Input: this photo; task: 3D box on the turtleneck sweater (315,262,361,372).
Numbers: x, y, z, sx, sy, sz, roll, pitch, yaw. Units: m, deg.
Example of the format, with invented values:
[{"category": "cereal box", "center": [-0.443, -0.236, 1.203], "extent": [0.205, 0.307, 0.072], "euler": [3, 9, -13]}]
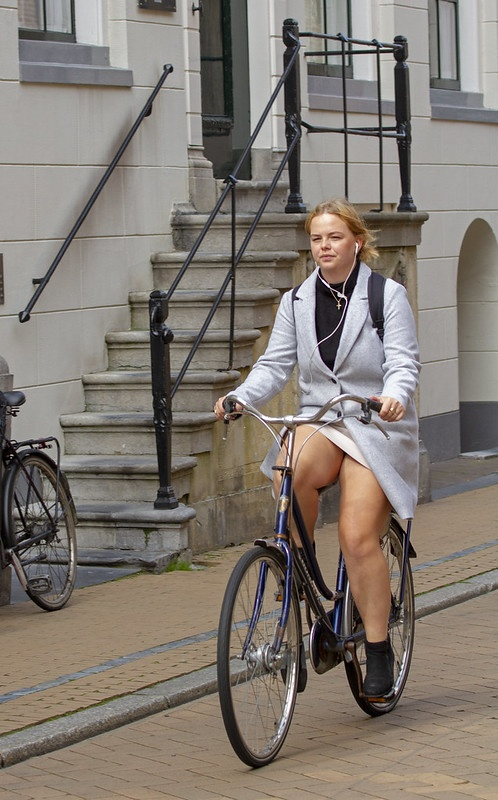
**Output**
[{"category": "turtleneck sweater", "center": [0.286, -0.266, 3.330], "extent": [0.171, 0.319, 0.165], "euler": [0, -4, 16]}]

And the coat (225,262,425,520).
[{"category": "coat", "center": [0.333, -0.002, 3.226], "extent": [0.613, 0.900, 0.622], "euler": [-3, -8, 28]}]

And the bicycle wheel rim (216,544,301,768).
[{"category": "bicycle wheel rim", "center": [0.029, 0.688, 2.754], "extent": [0.128, 0.633, 0.487], "euler": [-1, 1, 16]}]

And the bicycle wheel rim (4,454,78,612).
[{"category": "bicycle wheel rim", "center": [-1.077, 0.696, 5.285], "extent": [0.211, 0.635, 0.649], "euler": [-14, -21, 7]}]

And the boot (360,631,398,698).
[{"category": "boot", "center": [0.401, 0.834, 3.188], "extent": [0.069, 0.094, 0.221], "euler": [-3, -2, 11]}]
